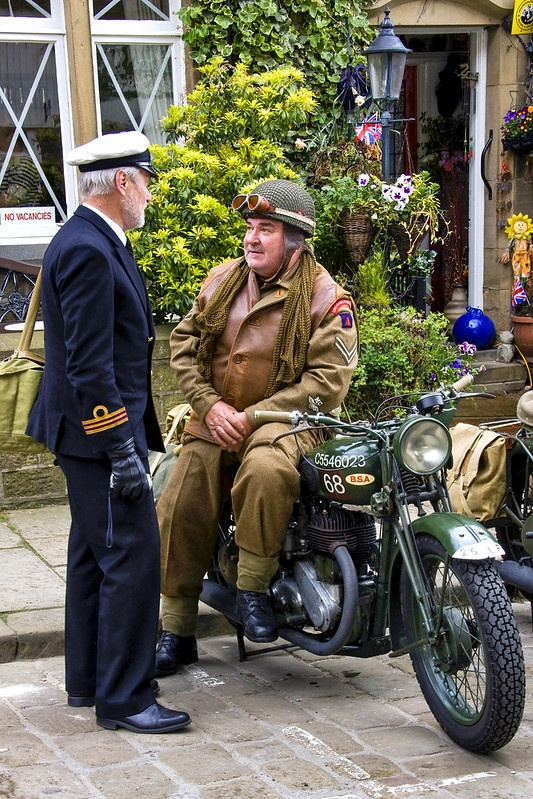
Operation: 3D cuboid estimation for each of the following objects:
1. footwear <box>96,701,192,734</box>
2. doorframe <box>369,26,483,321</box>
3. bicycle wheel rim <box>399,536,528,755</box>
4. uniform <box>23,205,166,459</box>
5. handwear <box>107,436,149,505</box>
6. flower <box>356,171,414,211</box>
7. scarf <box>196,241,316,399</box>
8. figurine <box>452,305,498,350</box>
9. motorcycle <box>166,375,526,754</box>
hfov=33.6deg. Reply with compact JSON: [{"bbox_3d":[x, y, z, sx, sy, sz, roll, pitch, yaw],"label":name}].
[{"bbox_3d":[-0.378,0.994,2.784,0.267,0.108,0.095,-2,-1,8],"label":"footwear"},{"bbox_3d":[1.992,-2.331,9.463,0.732,3.189,0.142,5,-21,-36],"label":"doorframe"},{"bbox_3d":[0.560,0.727,2.667,0.338,0.635,0.608,1,1,8],"label":"bicycle wheel rim"},{"bbox_3d":[-0.513,-0.212,2.750,0.400,0.801,0.496,0,1,-15],"label":"uniform"},{"bbox_3d":[-0.404,0.215,2.659,0.121,0.197,0.153,0,1,-8],"label":"handwear"},{"bbox_3d":[0.804,-1.427,6.142,0.325,0.217,0.284,26,36,24],"label":"flower"},{"bbox_3d":[0.010,-0.288,3.273,0.458,0.558,0.159,15,-5,25],"label":"scarf"},{"bbox_3d":[2.082,-0.731,9.011,0.459,0.451,0.328,0,1,-31],"label":"figurine"},{"bbox_3d":[0.410,0.508,2.919,0.664,0.767,1.497,-1,3,-33],"label":"motorcycle"}]
